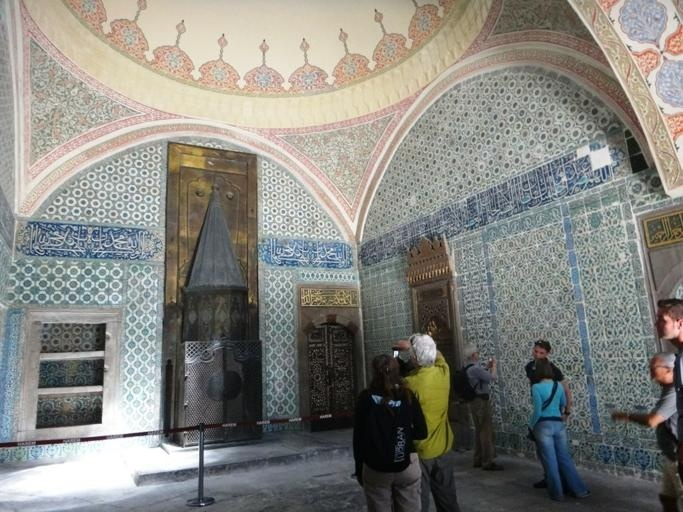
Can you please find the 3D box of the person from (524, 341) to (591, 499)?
[{"bbox_3d":[1.966,1.440,4.553,0.419,1.257,1.208,-5,-5,25],"label":"person"}]

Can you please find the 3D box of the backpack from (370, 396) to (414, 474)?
[{"bbox_3d":[0.296,1.067,2.893,0.270,0.453,0.102,-3,-5,0],"label":"backpack"}]

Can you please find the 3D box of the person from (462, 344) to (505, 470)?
[{"bbox_3d":[1.506,1.566,5.145,0.315,1.291,0.635,-4,-5,17],"label":"person"}]

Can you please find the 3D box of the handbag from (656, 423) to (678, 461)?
[{"bbox_3d":[1.932,1.101,2.858,0.063,0.187,0.129,-11,-15,-3],"label":"handbag"}]

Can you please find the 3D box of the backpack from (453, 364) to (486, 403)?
[{"bbox_3d":[1.329,1.322,4.964,0.270,0.491,0.304,19,-31,-12],"label":"backpack"}]
